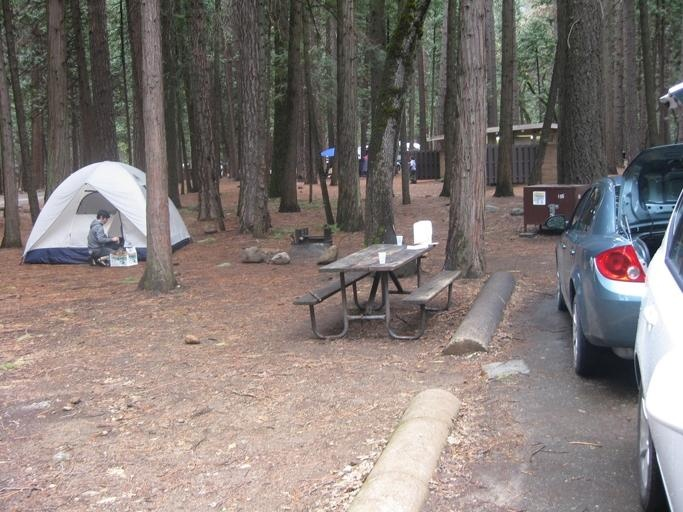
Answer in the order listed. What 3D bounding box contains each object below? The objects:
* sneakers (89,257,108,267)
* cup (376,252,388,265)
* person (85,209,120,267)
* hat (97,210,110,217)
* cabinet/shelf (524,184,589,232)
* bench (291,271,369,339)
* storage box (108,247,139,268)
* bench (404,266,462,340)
[{"bbox_3d":[-5.945,0.142,14.787,0.236,0.149,0.316,-1,-5,-41],"label":"sneakers"},{"bbox_3d":[0.540,0.025,7.963,0.123,0.176,0.139,0,0,1],"label":"cup"},{"bbox_3d":[-5.967,-0.459,15.039,0.662,1.426,0.754,9,9,26],"label":"person"},{"bbox_3d":[-5.870,-1.022,14.771,0.173,0.263,0.243,-1,13,-5],"label":"hat"},{"bbox_3d":[4.728,-1.138,13.239,1.249,1.206,1.407,0,10,14],"label":"cabinet/shelf"},{"bbox_3d":[-0.133,0.793,8.872,0.475,0.562,2.146,-20,-2,14],"label":"bench"},{"bbox_3d":[-5.364,0.053,14.726,0.390,0.410,0.608,2,5,5],"label":"storage box"},{"bbox_3d":[1.349,0.644,8.513,0.548,0.719,2.435,-1,11,16],"label":"bench"}]
